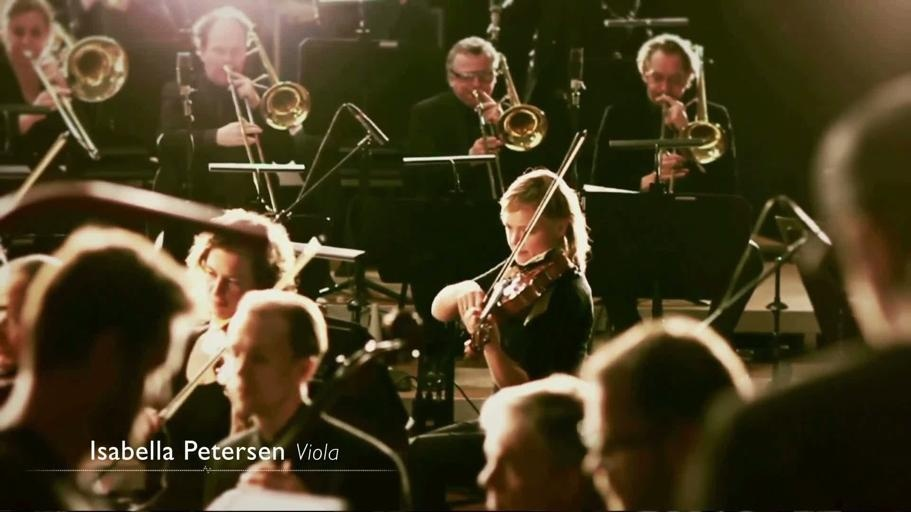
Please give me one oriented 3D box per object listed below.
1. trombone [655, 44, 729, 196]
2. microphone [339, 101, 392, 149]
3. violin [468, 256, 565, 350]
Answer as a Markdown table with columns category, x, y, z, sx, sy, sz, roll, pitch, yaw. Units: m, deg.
| category | x | y | z | sx | sy | sz | roll | pitch | yaw |
| --- | --- | --- | --- | --- | --- | --- | --- | --- | --- |
| trombone | 1.739 | -0.994 | 5.802 | 0.496 | 1.235 | 0.556 | 2 | -46 | -2 |
| microphone | -0.529 | -0.898 | 5.557 | 0.462 | 0.108 | 0.250 | 43 | 2 | -28 |
| violin | 0.390 | 0.255 | 4.525 | 0.190 | 0.635 | 0.336 | 52 | -1 | -20 |
